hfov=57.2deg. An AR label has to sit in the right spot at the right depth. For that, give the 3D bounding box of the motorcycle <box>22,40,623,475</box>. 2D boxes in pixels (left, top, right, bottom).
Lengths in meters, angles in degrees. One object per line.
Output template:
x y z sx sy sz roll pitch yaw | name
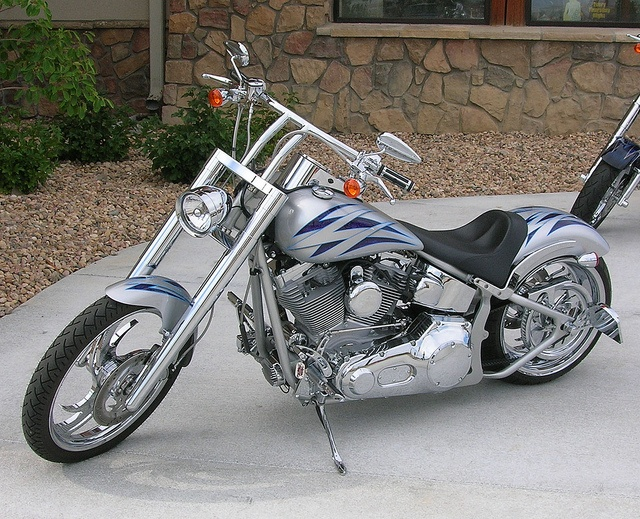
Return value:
0.136 -0.006 2.494 2.706 1.364 1.002 -5 18 -23 | motorcycle
